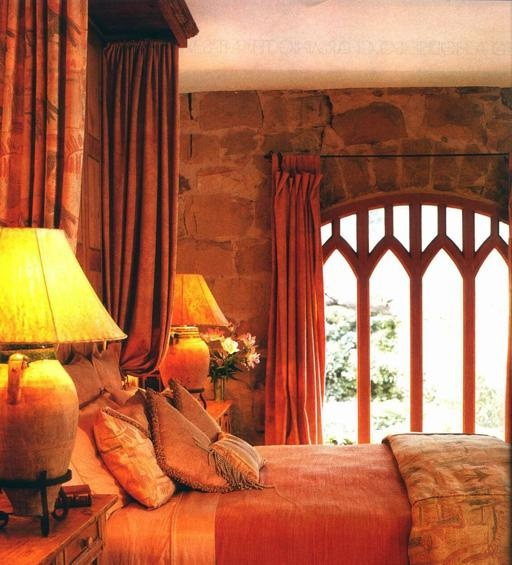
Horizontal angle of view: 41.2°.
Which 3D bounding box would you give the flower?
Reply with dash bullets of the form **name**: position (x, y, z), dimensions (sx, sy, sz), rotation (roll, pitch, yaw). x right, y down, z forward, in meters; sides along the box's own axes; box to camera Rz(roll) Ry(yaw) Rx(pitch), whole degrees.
- **flower**: position (-0.179, 0.461, 4.423), dimensions (0.321, 0.406, 0.368), rotation (4, -3, 20)
